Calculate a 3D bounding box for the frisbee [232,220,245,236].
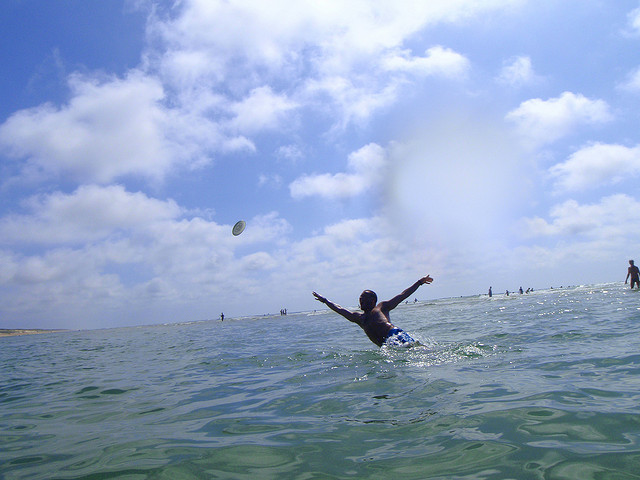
[{"bbox_3d":[-2.638,-0.297,14.082,0.439,0.537,0.132,13,-4,-28],"label":"frisbee"}]
